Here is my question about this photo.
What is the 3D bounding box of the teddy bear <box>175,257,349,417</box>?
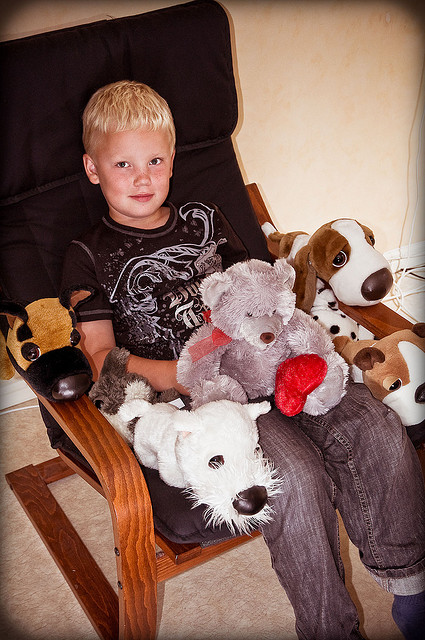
[{"bbox_3d":[0.082,0.045,0.846,0.289,0.259,0.163,-10,35,-6],"label":"teddy bear"}]

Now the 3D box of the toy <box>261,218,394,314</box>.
[{"bbox_3d":[0.264,-0.114,1.175,0.180,0.152,0.261,-31,45,-19],"label":"toy"}]

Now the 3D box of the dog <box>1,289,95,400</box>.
[{"bbox_3d":[-0.261,0.020,0.904,0.123,0.139,0.204,-18,49,-37],"label":"dog"}]

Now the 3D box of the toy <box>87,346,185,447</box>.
[{"bbox_3d":[-0.171,0.140,0.944,0.185,0.118,0.172,-7,74,-32],"label":"toy"}]

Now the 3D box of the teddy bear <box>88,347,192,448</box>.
[{"bbox_3d":[-0.136,0.145,1.025,0.197,0.126,0.184,-14,76,-33],"label":"teddy bear"}]

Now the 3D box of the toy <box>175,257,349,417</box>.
[{"bbox_3d":[0.089,0.044,0.850,0.266,0.251,0.193,0,36,5],"label":"toy"}]
